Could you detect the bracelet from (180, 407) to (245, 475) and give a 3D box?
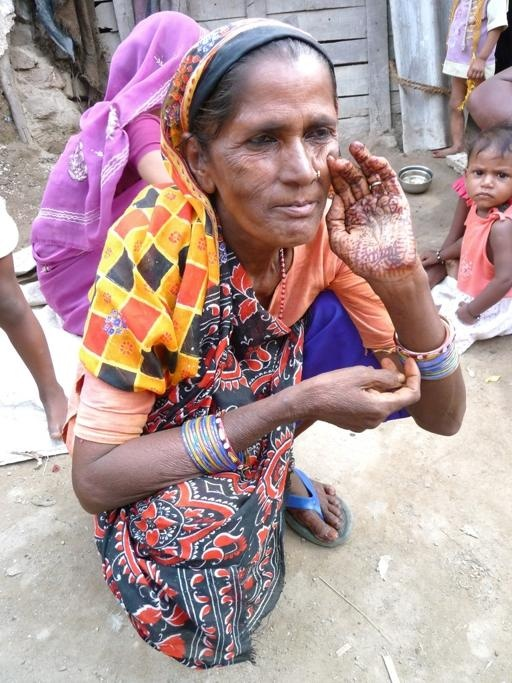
[{"bbox_3d":[-0.087,0.234,1.229,0.096,0.114,0.132,-23,-12,-4],"label":"bracelet"}]

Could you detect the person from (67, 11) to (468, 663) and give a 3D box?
[{"bbox_3d":[0.008,0.073,1.311,0.923,1.487,0.511,-15,22,-26],"label":"person"}]

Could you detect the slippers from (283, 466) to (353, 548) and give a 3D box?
[{"bbox_3d":[0.160,0.539,1.792,0.131,0.075,0.328,-29,41,-27],"label":"slippers"}]

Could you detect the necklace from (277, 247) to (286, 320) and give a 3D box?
[{"bbox_3d":[0.061,-0.152,1.458,0.018,0.160,0.018,7,16,15],"label":"necklace"}]

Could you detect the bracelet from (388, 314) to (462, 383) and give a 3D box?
[{"bbox_3d":[0.423,0.007,1.397,0.143,0.111,0.146,-21,36,19],"label":"bracelet"}]

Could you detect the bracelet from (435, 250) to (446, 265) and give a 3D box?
[{"bbox_3d":[1.137,-0.519,3.422,0.076,0.075,0.051,-12,25,3],"label":"bracelet"}]
